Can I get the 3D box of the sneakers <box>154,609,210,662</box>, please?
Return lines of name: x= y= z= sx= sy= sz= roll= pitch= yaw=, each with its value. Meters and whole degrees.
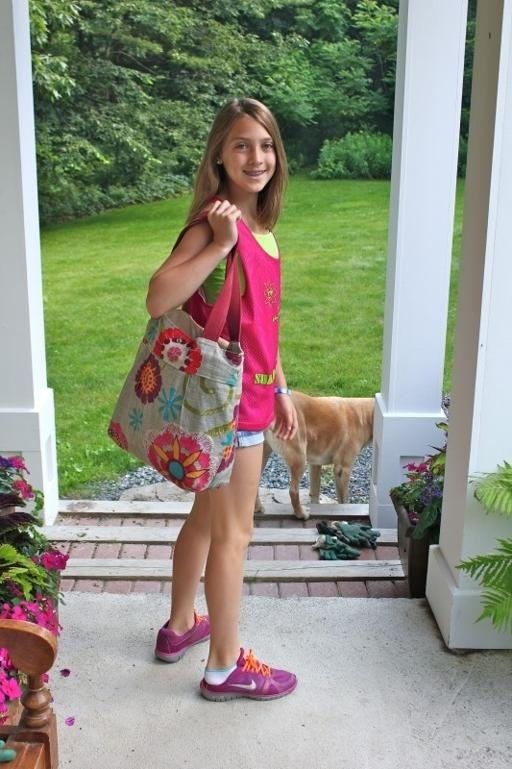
sneakers: x=-0.199 y=0.695 z=1.710 sx=0.074 sy=0.095 sz=0.221 roll=4 pitch=11 yaw=32

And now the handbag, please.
handbag: x=-0.181 y=-0.031 z=1.243 sx=0.365 sy=0.489 sz=0.146 roll=4 pitch=7 yaw=33

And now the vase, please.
vase: x=0.521 y=0.566 z=2.119 sx=0.216 sy=0.228 sz=0.269 roll=-3 pitch=20 yaw=-6

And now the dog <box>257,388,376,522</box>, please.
dog: x=0.398 y=0.431 z=3.646 sx=1.121 sy=0.763 sz=0.338 roll=5 pitch=0 yaw=-34

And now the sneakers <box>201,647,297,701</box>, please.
sneakers: x=-0.011 y=0.723 z=1.507 sx=0.278 sy=0.126 sz=0.105 roll=0 pitch=7 yaw=-8
